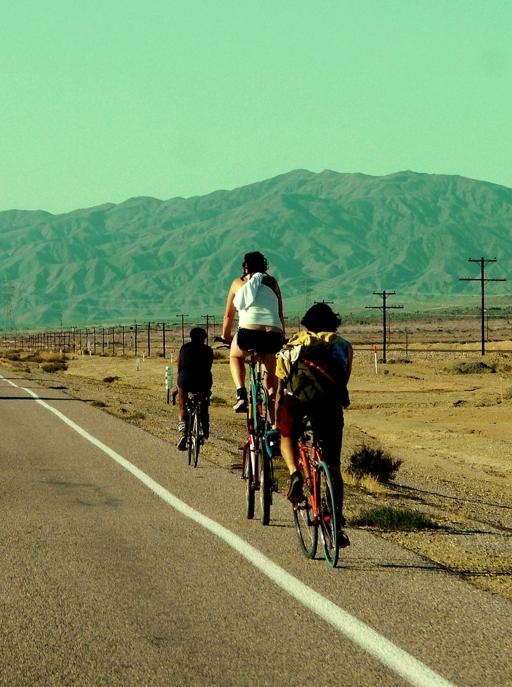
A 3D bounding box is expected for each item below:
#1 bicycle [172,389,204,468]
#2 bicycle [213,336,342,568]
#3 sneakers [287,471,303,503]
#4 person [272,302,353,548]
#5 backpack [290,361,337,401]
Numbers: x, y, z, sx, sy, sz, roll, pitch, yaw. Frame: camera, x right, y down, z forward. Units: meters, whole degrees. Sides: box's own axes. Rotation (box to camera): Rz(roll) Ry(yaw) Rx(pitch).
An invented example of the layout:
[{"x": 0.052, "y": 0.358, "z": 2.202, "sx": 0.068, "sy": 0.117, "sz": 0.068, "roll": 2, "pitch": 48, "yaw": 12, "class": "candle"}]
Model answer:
[{"x": -1.011, "y": 1.334, "z": 10.007, "sx": 0.383, "sy": 1.048, "sz": 1.192, "roll": -1, "pitch": 2, "yaw": -7, "class": "bicycle"}, {"x": 0.241, "y": 1.089, "z": 5.522, "sx": 0.776, "sy": 1.171, "sz": 1.832, "roll": -1, "pitch": 5, "yaw": -10, "class": "bicycle"}, {"x": 0.323, "y": 1.163, "z": 5.180, "sx": 0.095, "sy": 0.116, "sz": 0.266, "roll": -1, "pitch": 45, "yaw": 1, "class": "sneakers"}, {"x": 0.440, "y": 0.500, "z": 5.066, "sx": 0.584, "sy": 1.652, "sz": 0.550, "roll": 0, "pitch": 2, "yaw": 17, "class": "person"}, {"x": 0.438, "y": 0.287, "z": 4.955, "sx": 0.223, "sy": 0.361, "sz": 0.313, "roll": 1, "pitch": 12, "yaw": -24, "class": "backpack"}]
